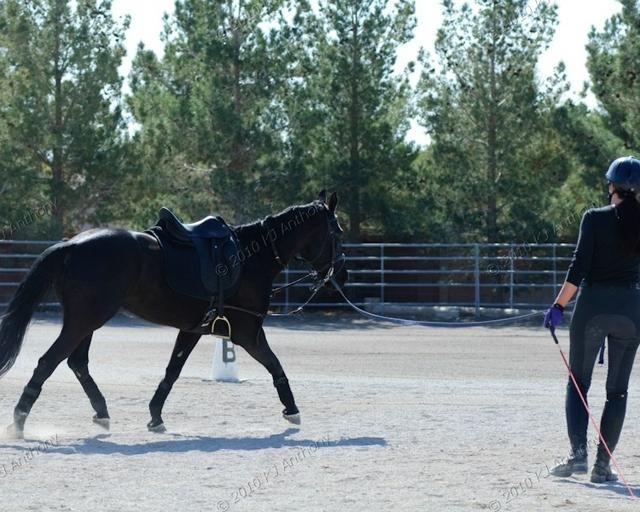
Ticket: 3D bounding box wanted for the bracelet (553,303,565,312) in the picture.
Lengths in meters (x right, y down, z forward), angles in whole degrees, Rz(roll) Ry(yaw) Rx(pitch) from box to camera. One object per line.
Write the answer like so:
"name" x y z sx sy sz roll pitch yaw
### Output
"bracelet" 4.177 0.933 24.711 0.169 0.065 0.140 29 -1 -43
